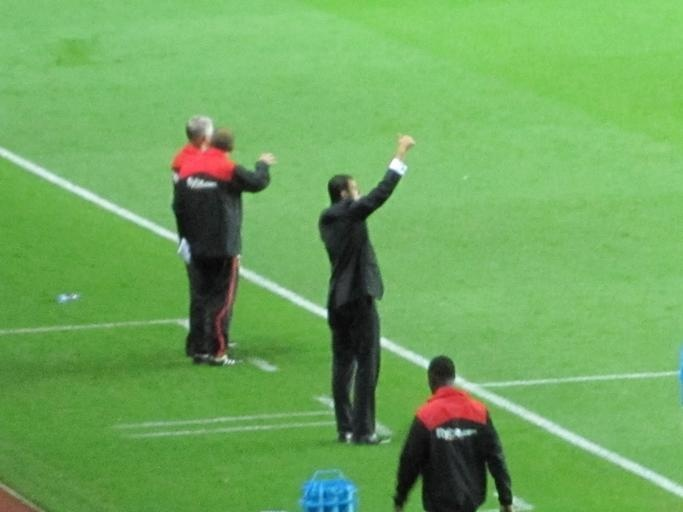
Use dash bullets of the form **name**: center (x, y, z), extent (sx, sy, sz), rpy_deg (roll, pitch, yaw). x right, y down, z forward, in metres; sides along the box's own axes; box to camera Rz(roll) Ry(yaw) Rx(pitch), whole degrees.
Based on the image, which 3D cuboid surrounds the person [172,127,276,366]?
- **person**: center (-1.010, -0.067, 11.145), extent (0.764, 1.864, 0.258), rpy_deg (6, 7, -7)

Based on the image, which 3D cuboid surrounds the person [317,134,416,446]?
- **person**: center (0.126, 0.269, 10.626), extent (0.676, 2.408, 0.393), rpy_deg (6, 7, -8)
